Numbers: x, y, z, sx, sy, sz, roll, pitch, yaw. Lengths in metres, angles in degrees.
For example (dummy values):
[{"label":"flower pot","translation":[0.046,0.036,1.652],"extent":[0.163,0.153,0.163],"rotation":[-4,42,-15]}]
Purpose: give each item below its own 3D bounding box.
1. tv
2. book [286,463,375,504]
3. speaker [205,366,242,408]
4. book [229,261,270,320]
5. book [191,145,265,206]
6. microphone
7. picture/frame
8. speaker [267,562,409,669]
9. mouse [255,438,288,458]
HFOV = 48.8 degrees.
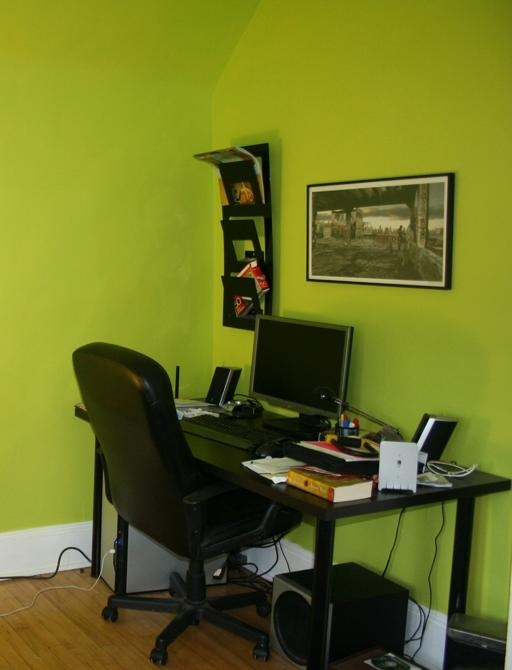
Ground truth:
[{"label":"tv","translation":[0.171,0.174,2.311],"extent":[0.196,0.452,0.536],"rotation":[-4,9,-39]},{"label":"book","translation":[0.189,0.388,1.468],"extent":[0.229,0.065,0.199],"rotation":[8,9,15]},{"label":"speaker","translation":[-0.149,0.260,2.749],"extent":[0.093,0.179,0.124],"rotation":[19,1,-30]},{"label":"book","translation":[-0.022,-0.209,2.745],"extent":[0.082,0.297,0.236],"rotation":[-1,10,-32]},{"label":"book","translation":[-0.134,-0.786,2.786],"extent":[0.191,0.293,0.370],"rotation":[-14,10,-31]},{"label":"microphone","translation":[0.394,0.297,2.046],"extent":[0.262,0.083,0.044],"rotation":[27,-41,-31]},{"label":"picture/frame","translation":[0.435,-0.376,2.144],"extent":[0.062,0.404,0.790],"rotation":[-1,10,-30]},{"label":"speaker","translation":[0.288,0.851,1.883],"extent":[0.395,0.324,0.384],"rotation":[0,4,-33]},{"label":"mouse","translation":[0.055,0.381,1.903],"extent":[0.062,0.027,0.109],"rotation":[0,0,35]}]
